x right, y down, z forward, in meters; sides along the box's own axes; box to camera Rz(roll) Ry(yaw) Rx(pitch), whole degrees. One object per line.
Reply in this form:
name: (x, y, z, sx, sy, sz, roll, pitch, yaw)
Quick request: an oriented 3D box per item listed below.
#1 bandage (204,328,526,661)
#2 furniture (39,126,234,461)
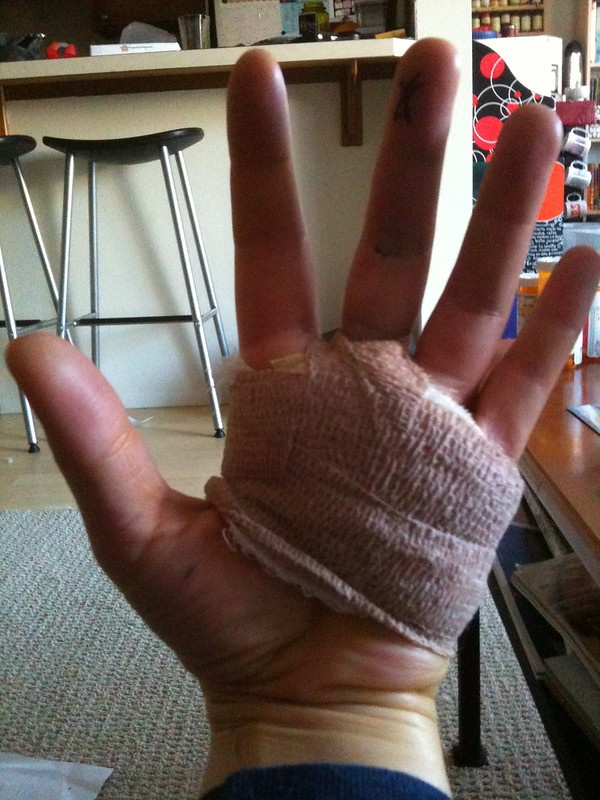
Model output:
bandage: (0.031, 0.042, 0.341, 0.145, 0.138, 0.047, 27, -4, 5)
furniture: (-0.436, -0.301, 1.897, 0.468, 0.779, 0.578, -4, 12, -6)
